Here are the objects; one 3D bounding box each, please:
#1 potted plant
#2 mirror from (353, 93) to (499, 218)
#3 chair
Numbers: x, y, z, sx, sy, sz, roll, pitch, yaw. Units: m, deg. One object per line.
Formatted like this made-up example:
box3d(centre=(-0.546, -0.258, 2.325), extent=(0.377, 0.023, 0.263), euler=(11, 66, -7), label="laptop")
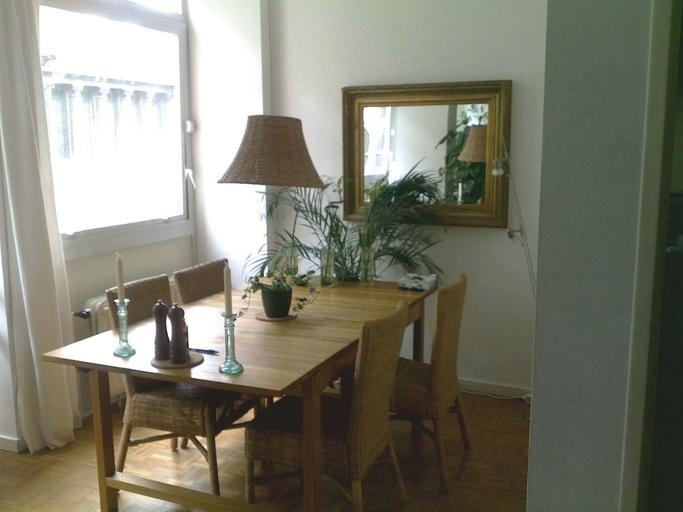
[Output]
box3d(centre=(0.078, -0.164, 3.951), extent=(0.953, 0.607, 0.946), euler=(-2, -17, -39), label="potted plant")
box3d(centre=(0.567, -0.657, 3.803), extent=(0.772, 0.668, 0.058), euler=(3, 12, 23), label="mirror")
box3d(centre=(0.075, 0.314, 2.999), extent=(1.038, 0.820, 1.448), euler=(1, 7, 19), label="chair")
